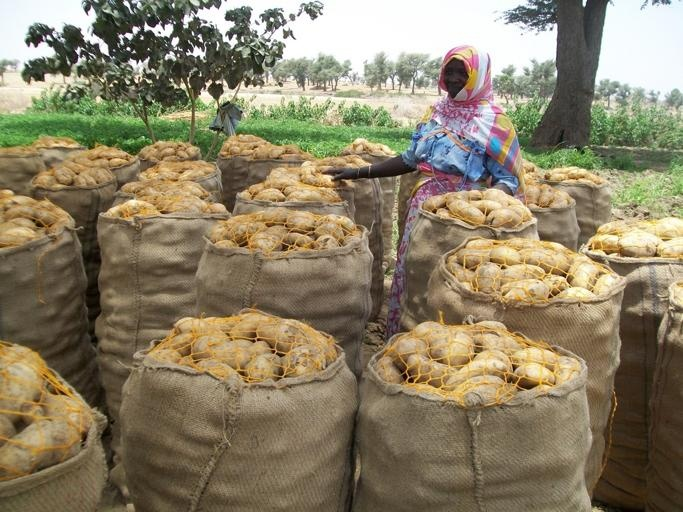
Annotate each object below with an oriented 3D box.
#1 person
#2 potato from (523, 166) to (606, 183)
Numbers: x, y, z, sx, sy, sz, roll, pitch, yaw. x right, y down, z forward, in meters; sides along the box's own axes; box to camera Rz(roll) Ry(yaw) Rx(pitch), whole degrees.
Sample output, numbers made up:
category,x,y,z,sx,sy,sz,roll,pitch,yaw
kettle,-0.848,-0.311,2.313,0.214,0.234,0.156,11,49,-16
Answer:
category,x,y,z,sx,sy,sz,roll,pitch,yaw
person,0.724,-0.364,4.313,1.577,2.464,1.050,15,30,36
potato,2.250,-0.799,5.149,0.494,0.131,0.419,2,3,14
